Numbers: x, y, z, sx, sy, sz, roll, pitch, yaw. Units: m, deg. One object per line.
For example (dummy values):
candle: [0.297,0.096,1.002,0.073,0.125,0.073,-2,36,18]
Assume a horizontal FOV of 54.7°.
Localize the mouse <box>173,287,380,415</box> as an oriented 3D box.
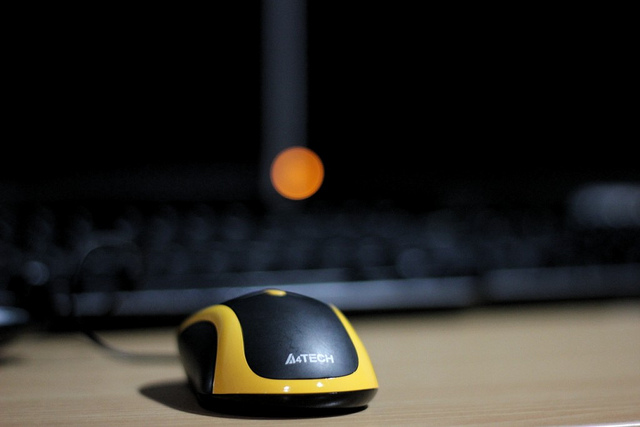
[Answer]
mouse: [-0.093,0.270,1.203,0.417,0.213,0.162,0,10,4]
